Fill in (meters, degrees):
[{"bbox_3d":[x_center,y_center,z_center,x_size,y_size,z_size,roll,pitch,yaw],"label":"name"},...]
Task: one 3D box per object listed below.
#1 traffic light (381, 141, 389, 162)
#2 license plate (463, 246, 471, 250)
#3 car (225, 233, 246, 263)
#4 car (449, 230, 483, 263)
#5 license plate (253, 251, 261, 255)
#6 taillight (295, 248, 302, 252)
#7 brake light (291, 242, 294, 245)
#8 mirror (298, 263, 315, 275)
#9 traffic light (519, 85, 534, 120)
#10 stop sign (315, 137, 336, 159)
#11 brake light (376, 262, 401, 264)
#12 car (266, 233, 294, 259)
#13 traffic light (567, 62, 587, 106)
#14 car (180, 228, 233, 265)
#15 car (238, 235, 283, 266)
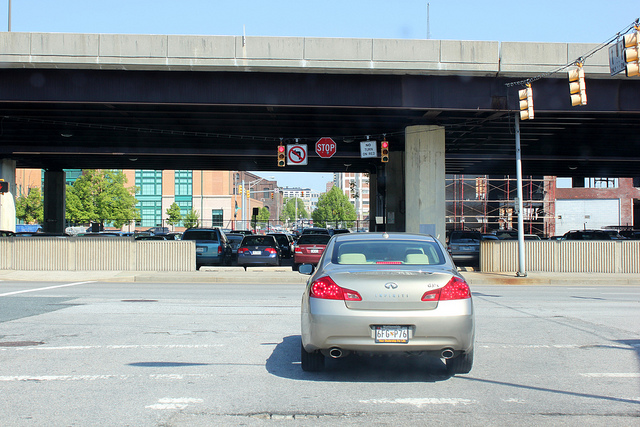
[{"bbox_3d":[3.087,-3.009,43.652,0.259,0.936,0.681,0,6,-6],"label":"traffic light"},{"bbox_3d":[6.912,1.652,42.959,0.354,0.154,0.071,2,6,9],"label":"license plate"},{"bbox_3d":[-4.834,1.996,51.875,1.326,1.099,2.535,1,3,1],"label":"car"},{"bbox_3d":[6.859,1.648,43.132,1.401,1.116,2.417,0,4,7],"label":"car"},{"bbox_3d":[-2.976,1.853,41.988,0.205,0.167,0.049,0,-19,0],"label":"license plate"},{"bbox_3d":[-1.022,1.686,41.298,0.371,0.172,0.053,6,8,40],"label":"taillight"},{"bbox_3d":[-1.734,1.822,54.487,0.158,0.193,0.204,1,-3,-2],"label":"brake light"},{"bbox_3d":[-0.393,1.594,25.160,0.417,0.339,1.060,1,6,-1],"label":"mirror"},{"bbox_3d":[8.077,-4.390,35.729,0.539,1.272,0.929,2,6,12],"label":"traffic light"},{"bbox_3d":[0.232,-3.379,45.340,1.237,1.219,0.211,0,0,-2],"label":"stop sign"},{"bbox_3d":[1.806,1.336,24.044,0.576,0.030,0.132,0,6,-5],"label":"brake light"},{"bbox_3d":[-2.256,1.898,52.177,1.127,0.843,1.839,0,3,2],"label":"car"},{"bbox_3d":[9.350,-4.784,33.041,0.557,1.548,0.971,2,6,12],"label":"traffic light"},{"bbox_3d":[-5.340,1.632,42.330,1.570,1.857,2.845,2,6,9],"label":"car"},{"bbox_3d":[-2.889,1.791,42.521,1.818,1.314,3.876,0,2,0],"label":"car"}]
